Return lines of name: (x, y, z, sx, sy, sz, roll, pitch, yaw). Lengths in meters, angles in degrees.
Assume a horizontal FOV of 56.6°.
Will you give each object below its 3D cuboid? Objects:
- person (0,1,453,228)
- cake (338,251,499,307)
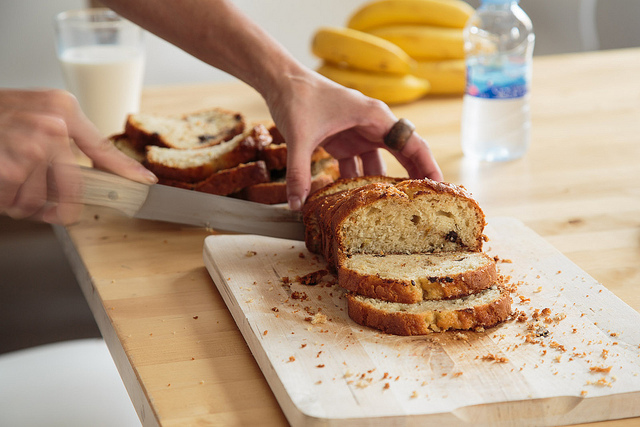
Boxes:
person: (-0.381, -0.400, 2.376, 1.484, 0.395, 1.037, 2, 25, -15)
cake: (0.337, 0.207, 2.055, 0.533, 0.097, 0.273, -3, 26, 3)
